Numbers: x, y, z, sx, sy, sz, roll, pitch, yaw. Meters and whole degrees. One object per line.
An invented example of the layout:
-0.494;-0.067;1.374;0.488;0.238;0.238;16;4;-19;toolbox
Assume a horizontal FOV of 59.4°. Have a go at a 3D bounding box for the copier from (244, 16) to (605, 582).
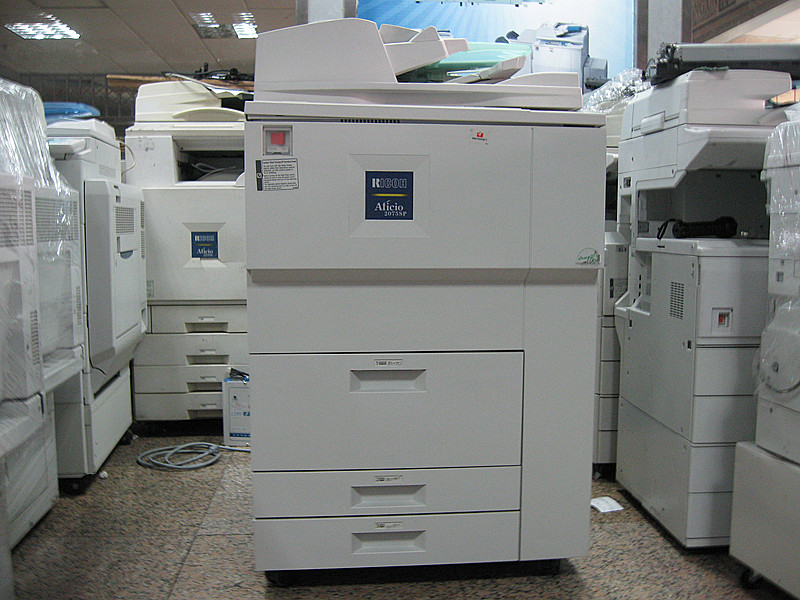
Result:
0.037;-0.013;2.754;1.244;1.897;1.168;-2;11;-13;copier
